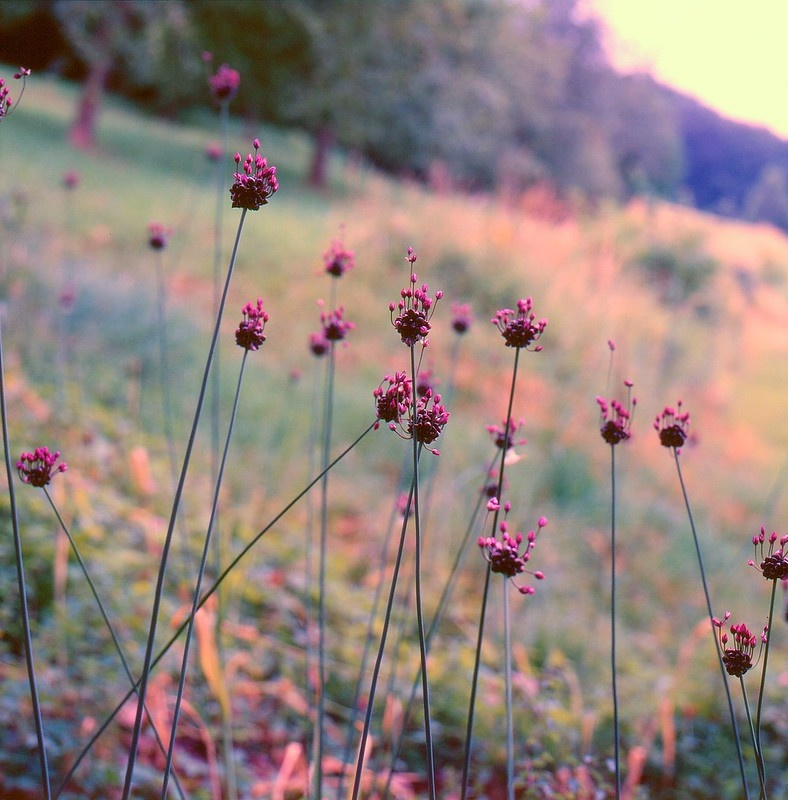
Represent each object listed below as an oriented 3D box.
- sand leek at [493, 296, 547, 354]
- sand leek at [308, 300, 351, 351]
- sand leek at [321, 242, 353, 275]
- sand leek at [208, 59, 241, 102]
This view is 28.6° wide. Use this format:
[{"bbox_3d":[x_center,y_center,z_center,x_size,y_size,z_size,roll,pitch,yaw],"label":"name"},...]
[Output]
[{"bbox_3d":[0.388,-0.236,4.708,0.161,0.196,0.172,12,-13,7],"label":"sand leek"},{"bbox_3d":[-0.208,-0.240,5.004,0.139,0.227,0.139,-6,6,-9],"label":"sand leek"},{"bbox_3d":[-0.184,-0.472,5.095,0.093,0.138,0.097,-3,8,-32],"label":"sand leek"},{"bbox_3d":[-0.564,-1.068,5.188,0.100,0.125,0.070,2,-11,-15],"label":"sand leek"}]
